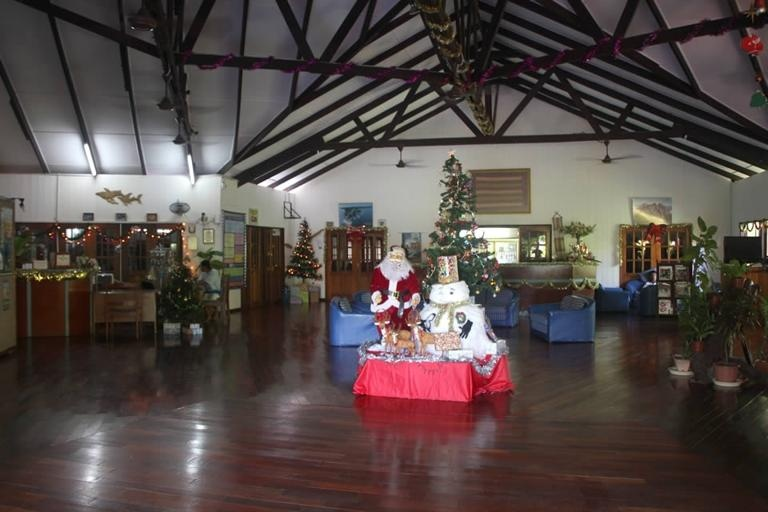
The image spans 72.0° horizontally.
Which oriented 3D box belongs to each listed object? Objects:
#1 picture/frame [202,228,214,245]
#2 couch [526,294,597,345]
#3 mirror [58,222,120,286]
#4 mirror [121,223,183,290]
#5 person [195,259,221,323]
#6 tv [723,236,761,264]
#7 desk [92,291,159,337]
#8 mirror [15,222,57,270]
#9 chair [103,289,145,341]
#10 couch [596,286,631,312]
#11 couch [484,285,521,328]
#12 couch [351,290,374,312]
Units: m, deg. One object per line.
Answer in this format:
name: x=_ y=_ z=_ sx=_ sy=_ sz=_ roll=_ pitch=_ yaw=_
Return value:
picture/frame: x=-4.716 y=-0.541 z=14.129 sx=0.419 sy=0.603 sz=0.057 roll=0 pitch=-3 yaw=-13
couch: x=3.901 y=1.370 z=11.618 sx=1.095 sy=0.993 sz=1.373 roll=0 pitch=0 yaw=-3
mirror: x=-7.708 y=-0.139 z=13.817 sx=1.491 sy=1.556 sz=0.031 roll=4 pitch=-36 yaw=-43
mirror: x=-5.820 y=-0.073 z=13.354 sx=1.556 sy=1.848 sz=0.079 roll=0 pitch=-4 yaw=5
person: x=-4.299 y=0.880 z=13.072 sx=0.527 sy=1.505 sz=1.335 roll=-4 pitch=9 yaw=-19
tv: x=6.574 y=-0.109 z=9.733 sx=0.465 sy=0.365 sz=0.063 roll=1 pitch=-1 yaw=12
desk: x=-5.761 y=1.251 z=11.878 sx=1.209 sy=0.818 sz=0.710 roll=-2 pitch=-4 yaw=-1
mirror: x=-8.263 y=-0.237 z=12.596 sx=0.880 sy=0.957 sz=3.304 roll=-6 pitch=11 yaw=-32
chair: x=-5.671 y=1.262 z=11.489 sx=0.905 sy=0.909 sz=0.959 roll=-2 pitch=9 yaw=-7
couch: x=6.531 y=1.265 z=15.244 sx=0.729 sy=0.803 sz=0.797 roll=-1 pitch=2 yaw=-3
couch: x=2.886 y=1.219 z=12.913 sx=0.870 sy=0.901 sz=0.898 roll=-2 pitch=-8 yaw=14
couch: x=-0.544 y=1.078 z=12.480 sx=0.503 sy=0.559 sz=0.751 roll=-1 pitch=2 yaw=21
